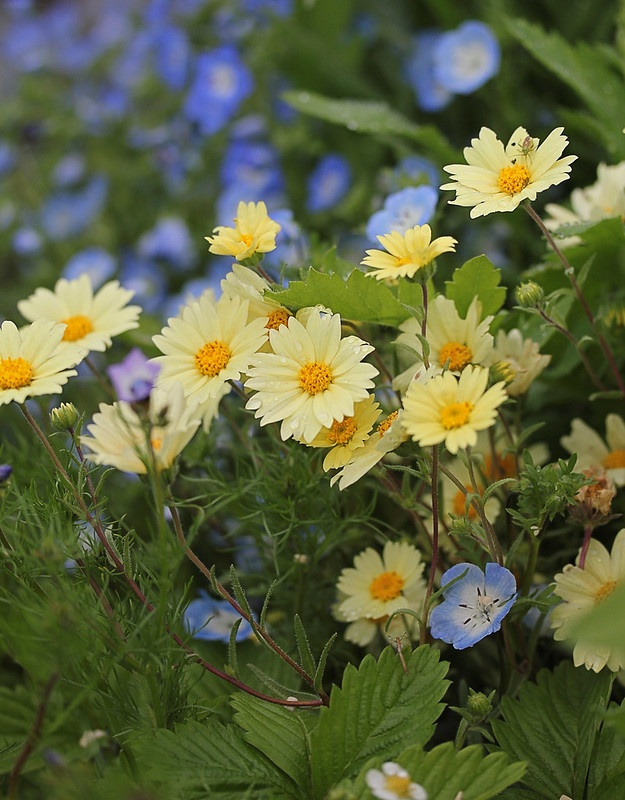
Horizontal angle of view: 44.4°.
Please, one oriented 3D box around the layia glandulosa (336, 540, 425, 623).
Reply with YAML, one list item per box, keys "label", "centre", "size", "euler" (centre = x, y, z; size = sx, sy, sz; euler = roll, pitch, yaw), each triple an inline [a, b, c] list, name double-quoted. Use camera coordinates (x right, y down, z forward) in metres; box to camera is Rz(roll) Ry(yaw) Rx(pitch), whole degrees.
- label: "layia glandulosa"
  centre: [0.053, 0.124, 0.590]
  size: [0.045, 0.071, 0.050]
  euler: [-11, 13, -44]
